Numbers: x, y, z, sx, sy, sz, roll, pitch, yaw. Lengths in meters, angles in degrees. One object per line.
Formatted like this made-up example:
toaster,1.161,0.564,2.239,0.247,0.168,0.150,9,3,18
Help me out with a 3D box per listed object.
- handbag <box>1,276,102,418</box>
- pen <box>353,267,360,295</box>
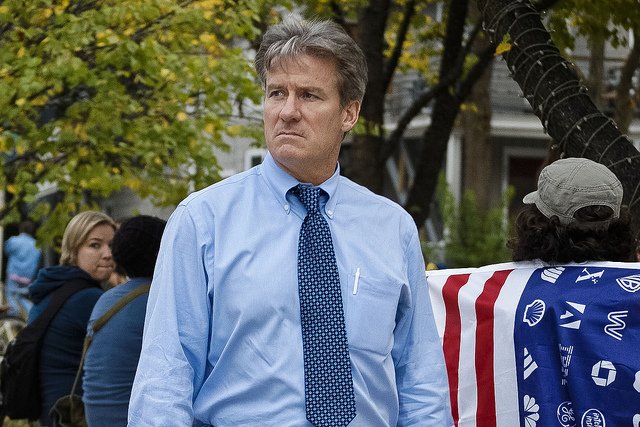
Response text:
handbag,-2.204,1.177,12.066,0.926,1.548,1.076,7,-8,-16
pen,0.274,0.508,10.340,0.030,0.180,0.008,11,-22,1
